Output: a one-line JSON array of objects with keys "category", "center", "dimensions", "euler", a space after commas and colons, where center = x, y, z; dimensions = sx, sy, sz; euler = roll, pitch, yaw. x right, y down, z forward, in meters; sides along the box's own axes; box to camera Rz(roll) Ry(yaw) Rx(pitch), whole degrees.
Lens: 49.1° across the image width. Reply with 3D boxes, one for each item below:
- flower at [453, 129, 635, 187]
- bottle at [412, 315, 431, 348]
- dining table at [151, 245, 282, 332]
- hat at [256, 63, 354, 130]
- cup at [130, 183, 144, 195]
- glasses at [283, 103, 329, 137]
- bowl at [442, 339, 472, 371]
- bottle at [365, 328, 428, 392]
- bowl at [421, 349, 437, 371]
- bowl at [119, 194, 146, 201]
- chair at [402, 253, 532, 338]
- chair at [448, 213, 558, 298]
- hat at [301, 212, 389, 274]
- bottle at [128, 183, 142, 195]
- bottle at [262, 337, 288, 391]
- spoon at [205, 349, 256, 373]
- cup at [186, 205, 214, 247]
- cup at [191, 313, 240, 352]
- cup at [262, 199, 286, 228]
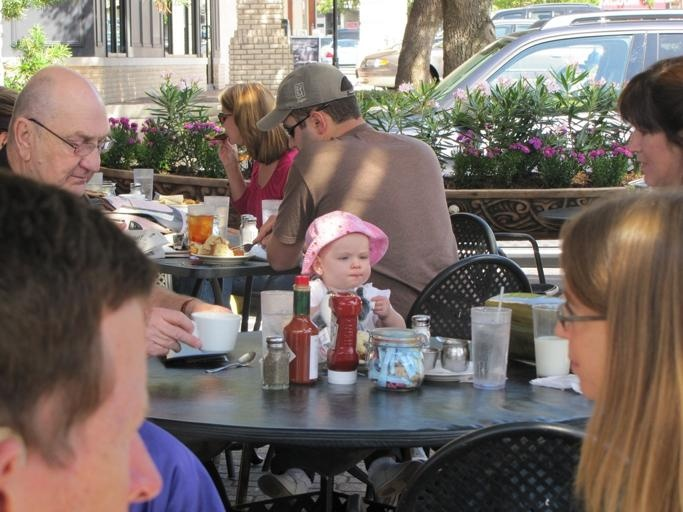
[{"category": "flower", "center": [1.801, -0.850, 7.100], "dimensions": [1.196, 0.369, 0.741], "euler": [-3, 9, 5]}, {"category": "bottle", "center": [0.250, 0.244, 2.341], "dimensions": [0.062, 0.108, 0.063], "euler": [1, 3, 0]}, {"category": "dining table", "center": [-0.658, 0.085, 4.000], "dimensions": [0.593, 0.565, 0.586], "euler": [-2, 6, -45]}, {"category": "hat", "center": [-0.214, -0.868, 4.046], "dimensions": [0.549, 0.280, 0.350], "euler": [-12, 13, 11]}, {"category": "cup", "center": [-1.489, -0.481, 5.482], "dimensions": [0.113, 0.103, 0.112], "euler": [0, 9, 0]}, {"category": "glasses", "center": [-0.202, -0.716, 3.979], "dimensions": [0.164, 0.049, 0.160], "euler": [-33, 9, 5]}, {"category": "bowl", "center": [0.327, 0.297, 2.249], "dimensions": [0.106, 0.091, 0.080], "euler": [4, 6, 19]}, {"category": "bottle", "center": [0.156, 0.296, 2.141], "dimensions": [0.172, 0.170, 0.169], "euler": [-3, 8, -15]}, {"category": "bowl", "center": [0.254, 0.305, 2.200], "dimensions": [0.056, 0.044, 0.057], "euler": [0, 1, 0]}, {"category": "bowl", "center": [-1.361, -0.377, 4.855], "dimensions": [0.132, 0.031, 0.133], "euler": [1, 5, 0]}, {"category": "chair", "center": [0.511, 0.139, 3.269], "dimensions": [0.406, 0.533, 0.401], "euler": [-6, 14, -25]}, {"category": "chair", "center": [0.948, -0.061, 4.362], "dimensions": [0.551, 0.752, 0.548], "euler": [-2, 10, -6]}, {"category": "hat", "center": [0.003, -0.011, 2.838], "dimensions": [0.279, 0.137, 0.264], "euler": [-24, 0, -17]}, {"category": "bottle", "center": [-1.496, -0.488, 5.466], "dimensions": [0.101, 0.114, 0.105], "euler": [-5, 11, -34]}, {"category": "bottle", "center": [-0.186, 0.297, 2.084], "dimensions": [0.091, 0.148, 0.092], "euler": [1, 6, 0]}, {"category": "spoon", "center": [-0.340, 0.325, 2.285], "dimensions": [0.045, 0.032, 0.186], "euler": [8, 15, 33]}, {"category": "cup", "center": [-0.780, -0.174, 4.090], "dimensions": [0.162, 0.210, 0.164], "euler": [5, 16, -2]}, {"category": "cup", "center": [-0.396, 0.240, 2.320], "dimensions": [0.168, 0.114, 0.141], "euler": [1, 4, 0]}, {"category": "cup", "center": [-0.424, -0.255, 4.537], "dimensions": [0.161, 0.178, 0.162], "euler": [1, 5, 0]}]
